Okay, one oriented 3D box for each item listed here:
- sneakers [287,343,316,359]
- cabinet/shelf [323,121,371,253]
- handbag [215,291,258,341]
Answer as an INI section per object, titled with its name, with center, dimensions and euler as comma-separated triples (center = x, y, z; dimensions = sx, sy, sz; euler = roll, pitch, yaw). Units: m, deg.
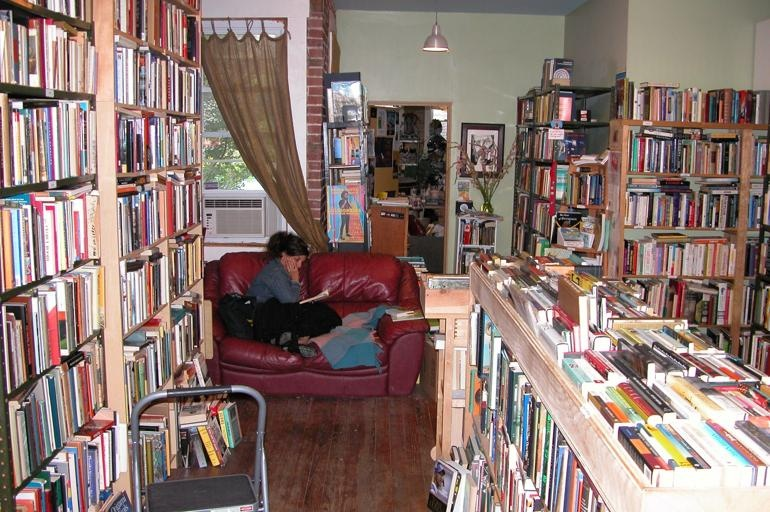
[sneakers]
center = -0.693, 0.779, 5.082
dimensions = 0.188, 0.115, 0.056
euler = 11, 31, 19
[cabinet/shelf]
center = -0.419, -0.763, 6.667
dimensions = 0.443, 1.287, 1.345
euler = -1, 10, -1
[handbag]
center = -1.267, 0.519, 5.192
dimensions = 0.350, 0.347, 0.156
euler = 3, -8, 0
